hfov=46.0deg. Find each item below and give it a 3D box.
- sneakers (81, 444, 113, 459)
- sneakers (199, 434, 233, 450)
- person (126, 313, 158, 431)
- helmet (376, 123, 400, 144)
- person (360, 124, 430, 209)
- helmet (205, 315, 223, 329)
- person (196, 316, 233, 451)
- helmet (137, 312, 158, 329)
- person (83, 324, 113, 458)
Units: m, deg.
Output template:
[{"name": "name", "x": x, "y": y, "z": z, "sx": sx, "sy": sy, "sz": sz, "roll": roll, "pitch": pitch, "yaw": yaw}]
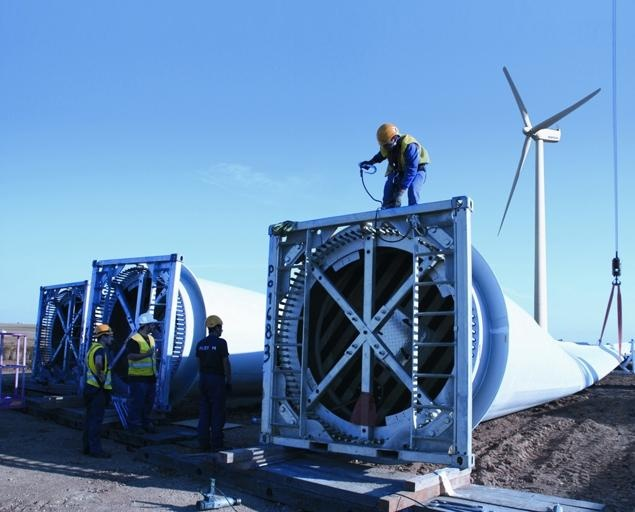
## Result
[{"name": "sneakers", "x": -3.705, "y": 3.290, "z": 12.574, "sx": 0.548, "sy": 0.249, "sz": 0.195, "roll": 1, "pitch": -4, "yaw": 3}, {"name": "sneakers", "x": -1.734, "y": 3.110, "z": 12.385, "sx": 0.450, "sy": 0.201, "sz": 0.267, "roll": 0, "pitch": 7, "yaw": -9}, {"name": "person", "x": -3.319, "y": 2.194, "z": 14.118, "sx": 0.525, "sy": 2.100, "sz": 1.138, "roll": -1, "pitch": 7, "yaw": -15}, {"name": "helmet", "x": 1.172, "y": -2.012, "z": 12.421, "sx": 0.321, "sy": 0.331, "sz": 0.238, "roll": 1, "pitch": 6, "yaw": 5}, {"name": "person", "x": 1.367, "y": -1.461, "z": 12.295, "sx": 0.807, "sy": 1.387, "sz": 1.070, "roll": 2, "pitch": 7, "yaw": 13}, {"name": "helmet", "x": -1.816, "y": 1.174, "z": 13.246, "sx": 0.186, "sy": 0.150, "sz": 0.252, "roll": -7, "pitch": -9, "yaw": 19}, {"name": "person", "x": -1.775, "y": 2.291, "z": 12.719, "sx": 0.552, "sy": 2.052, "sz": 1.072, "roll": 0, "pitch": 6, "yaw": -9}, {"name": "helmet", "x": -3.293, "y": 1.230, "z": 14.385, "sx": 0.413, "sy": 0.249, "sz": 0.313, "roll": -6, "pitch": 2, "yaw": -12}, {"name": "person", "x": -3.796, "y": 2.413, "z": 12.847, "sx": 0.476, "sy": 2.148, "sz": 1.060, "roll": -1, "pitch": 7, "yaw": -17}]
